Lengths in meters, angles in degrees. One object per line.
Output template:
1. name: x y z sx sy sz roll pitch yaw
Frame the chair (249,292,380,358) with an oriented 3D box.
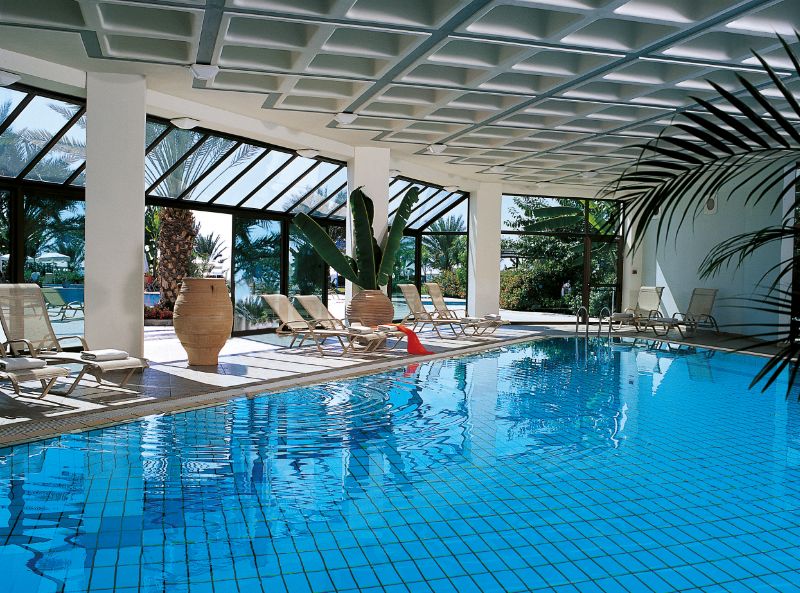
1. chair: -1.659 0.558 10.713 2.536 0.988 0.939 2 0 30

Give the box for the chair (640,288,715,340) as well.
1. chair: 8.058 0.508 15.651 0.968 1.087 1.798 3 -9 -19

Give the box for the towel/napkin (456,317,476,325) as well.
1. towel/napkin: 1.670 0.624 13.525 0.305 0.141 0.648 6 7 42

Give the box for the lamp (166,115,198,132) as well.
1. lamp: -3.902 -3.116 9.519 0.411 0.229 0.408 0 5 -18

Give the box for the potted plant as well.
1. potted plant: -0.971 -0.530 12.748 2.555 2.795 2.701 -20 -11 28

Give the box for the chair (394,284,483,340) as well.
1. chair: 0.930 0.363 13.845 1.954 1.037 1.454 0 1 35

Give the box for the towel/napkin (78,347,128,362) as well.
1. towel/napkin: -3.935 0.772 6.958 0.467 0.123 0.585 5 6 35

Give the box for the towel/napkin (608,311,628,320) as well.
1. towel/napkin: 6.367 0.619 15.773 0.505 0.166 0.499 0 2 -3
